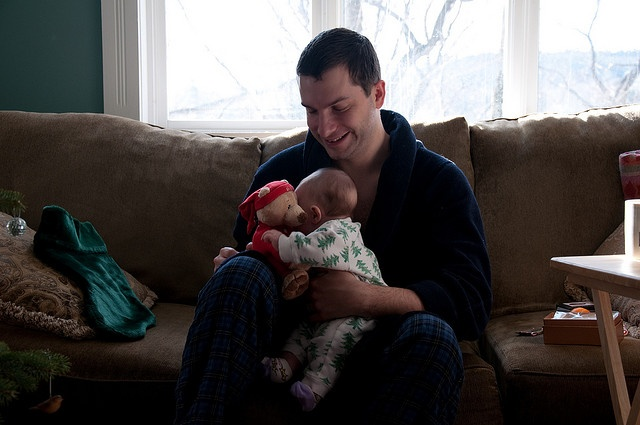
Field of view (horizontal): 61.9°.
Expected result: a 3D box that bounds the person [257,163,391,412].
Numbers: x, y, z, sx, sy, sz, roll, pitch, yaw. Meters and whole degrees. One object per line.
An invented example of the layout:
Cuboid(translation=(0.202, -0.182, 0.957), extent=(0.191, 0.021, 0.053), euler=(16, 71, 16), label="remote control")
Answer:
Cuboid(translation=(0.004, 0.256, 1.921), extent=(0.438, 0.817, 0.299), euler=(0, 6, 5), label="person")

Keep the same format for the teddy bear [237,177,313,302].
Cuboid(translation=(-0.121, 0.078, 2.025), extent=(0.278, 0.382, 0.292), euler=(-9, 16, -20), label="teddy bear")
